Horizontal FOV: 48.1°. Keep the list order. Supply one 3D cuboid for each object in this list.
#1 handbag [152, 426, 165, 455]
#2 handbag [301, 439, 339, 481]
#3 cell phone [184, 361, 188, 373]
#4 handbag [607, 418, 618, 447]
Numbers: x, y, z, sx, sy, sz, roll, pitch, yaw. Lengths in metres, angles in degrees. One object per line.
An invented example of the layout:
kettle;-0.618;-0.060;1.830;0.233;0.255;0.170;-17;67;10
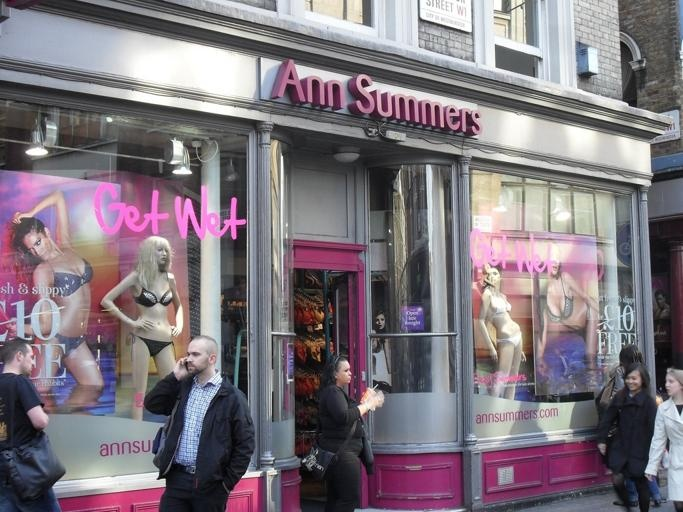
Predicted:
handbag;-1.602;1.632;6.700;0.090;0.277;0.260;12;-12;-13
handbag;-0.257;2.201;8.084;0.375;0.348;0.146;-2;-22;42
cell phone;-1.340;0.957;6.606;0.021;0.085;0.059;-2;18;-10
handbag;3.328;2.197;9.399;0.104;0.368;0.147;7;17;9
